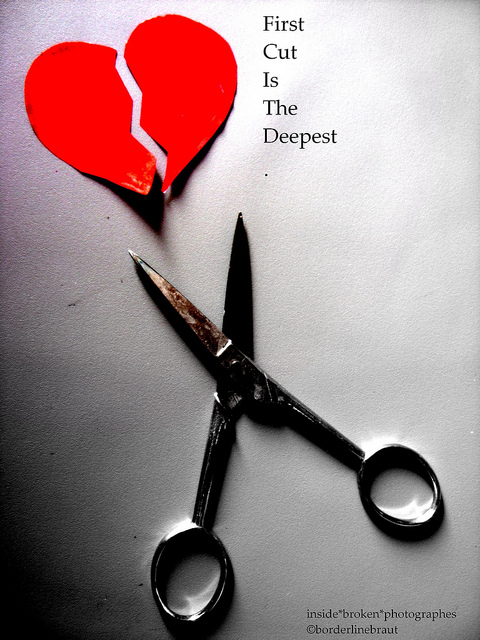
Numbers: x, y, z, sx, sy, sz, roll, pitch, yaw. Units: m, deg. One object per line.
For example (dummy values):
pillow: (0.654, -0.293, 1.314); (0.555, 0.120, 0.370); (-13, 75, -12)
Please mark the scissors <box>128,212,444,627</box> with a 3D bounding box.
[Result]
scissors: (0.011, 0.087, 0.638); (0.321, 0.339, 0.031); (-19, -7, -13)
